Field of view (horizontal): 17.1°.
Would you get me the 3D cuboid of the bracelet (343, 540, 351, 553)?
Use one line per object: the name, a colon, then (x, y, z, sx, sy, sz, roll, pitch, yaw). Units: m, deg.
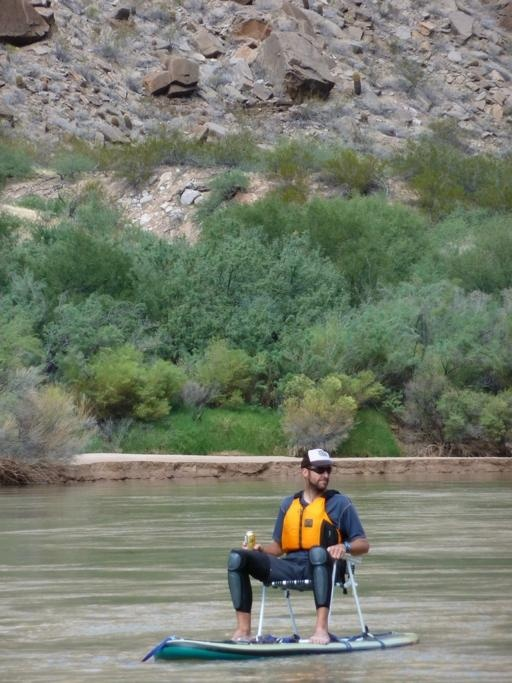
bracelet: (0.968, 2.098, 17.510, 0.080, 0.089, 0.080, 8, -11, -34)
